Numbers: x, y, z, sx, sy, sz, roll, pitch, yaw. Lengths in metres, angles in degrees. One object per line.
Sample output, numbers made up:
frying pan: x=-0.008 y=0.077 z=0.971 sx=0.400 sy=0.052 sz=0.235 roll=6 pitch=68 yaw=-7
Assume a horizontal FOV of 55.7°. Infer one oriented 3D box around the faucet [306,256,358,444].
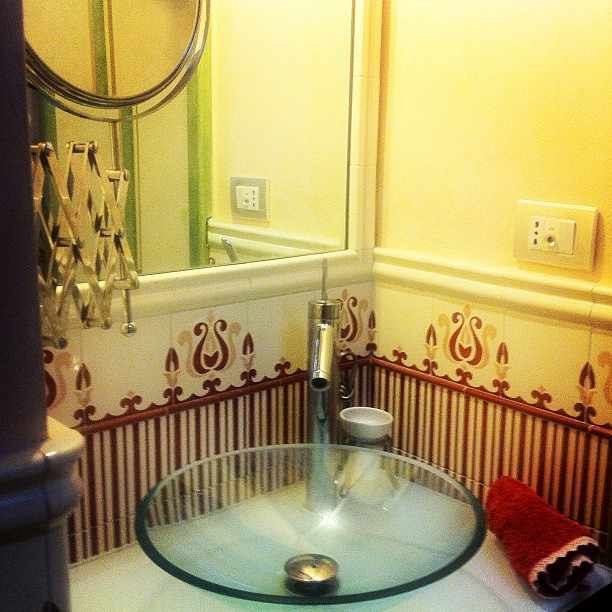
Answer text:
faucet: x=0.053 y=0.093 z=1.177 sx=0.097 sy=0.388 sz=0.311 roll=1 pitch=14 yaw=5
